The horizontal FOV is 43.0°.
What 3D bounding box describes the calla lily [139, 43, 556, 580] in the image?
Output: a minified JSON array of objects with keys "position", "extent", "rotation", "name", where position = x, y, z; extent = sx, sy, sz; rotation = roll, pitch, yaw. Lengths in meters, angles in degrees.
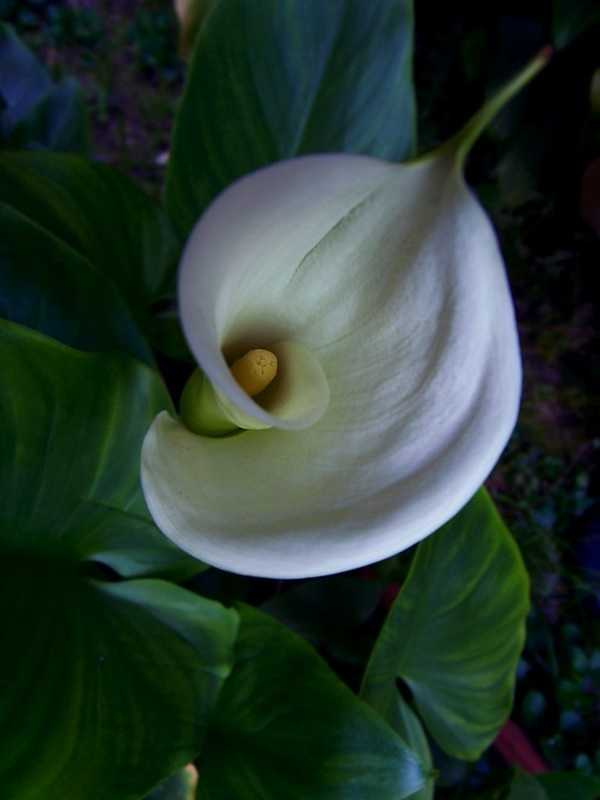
[{"position":[0.046,-0.070,0.534],"extent":[0.221,0.119,0.364],"rotation":[34,77,-5],"name":"calla lily"}]
